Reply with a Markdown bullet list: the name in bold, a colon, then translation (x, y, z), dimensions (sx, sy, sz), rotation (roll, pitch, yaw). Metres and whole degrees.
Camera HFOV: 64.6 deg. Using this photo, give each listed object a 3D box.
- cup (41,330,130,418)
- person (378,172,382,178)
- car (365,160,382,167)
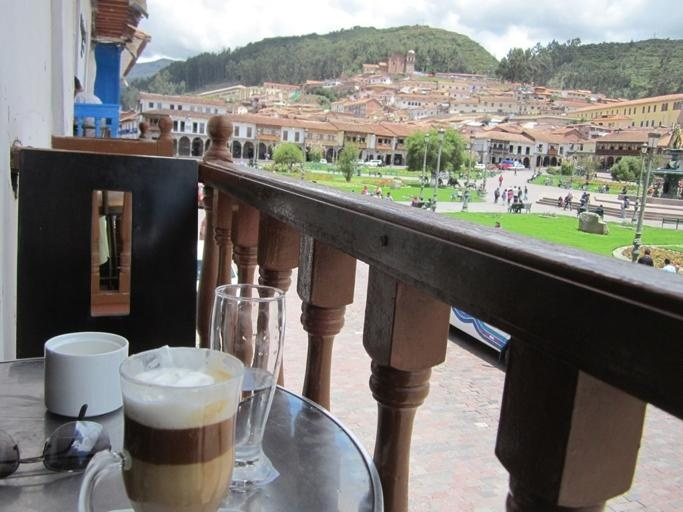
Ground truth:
- **cup**: translation (-0.437, 0.205, 0.923), dimensions (0.117, 0.112, 0.132), rotation (5, 12, 8)
- **person**: translation (4.820, -9.991, 67.374), dimensions (0.197, 0.869, 0.868), rotation (2, 2, 40)
- **car**: translation (4.709, -13.335, 78.422), dimensions (2.535, 1.291, 1.545), rotation (0, 10, -7)
